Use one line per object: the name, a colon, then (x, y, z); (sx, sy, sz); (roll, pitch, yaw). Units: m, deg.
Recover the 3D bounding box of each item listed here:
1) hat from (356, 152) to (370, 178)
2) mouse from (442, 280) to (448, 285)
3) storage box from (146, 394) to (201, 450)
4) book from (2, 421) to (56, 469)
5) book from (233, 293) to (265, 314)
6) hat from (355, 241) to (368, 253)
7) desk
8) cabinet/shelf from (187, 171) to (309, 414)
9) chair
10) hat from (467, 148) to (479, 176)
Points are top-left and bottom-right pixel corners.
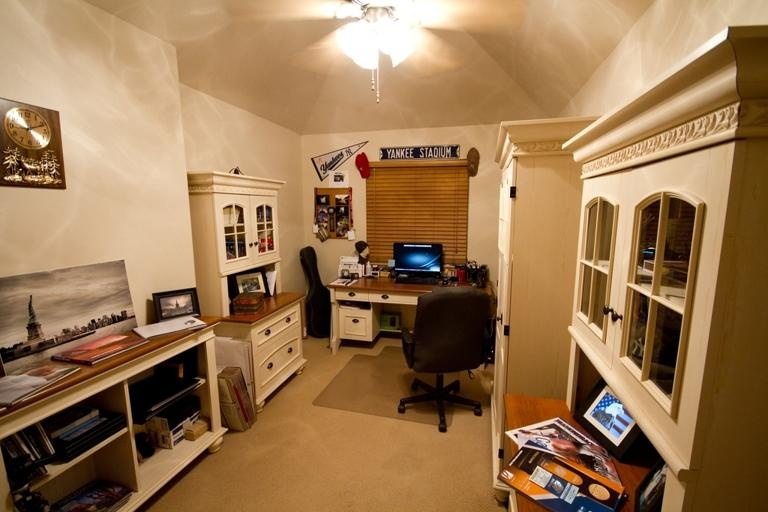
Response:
hat: (-0.218, -1.008, 5.676); (0.150, 0.263, 0.060); (-6, 9, 10)
mouse: (0.647, 0.272, 5.301); (0.048, 0.012, 0.046); (2, 21, 16)
storage box: (-1.497, 1.193, 3.735); (0.195, 0.241, 0.356); (10, 14, 17)
book: (-1.989, 1.075, 2.923); (0.235, 0.231, 0.057); (41, 18, 10)
book: (-1.120, 0.387, 4.270); (0.153, 0.099, 0.213); (1, 3, 0)
hat: (-0.240, -0.097, 5.793); (0.141, 0.138, 0.084); (-1, 6, 2)
desk: (0.210, 0.648, 5.285); (1.374, 0.730, 0.536); (3, 10, 18)
cabinet/shelf: (-1.118, 0.281, 4.465); (0.481, 1.899, 0.969); (1, 9, 20)
chair: (0.495, 0.767, 4.120); (0.757, 1.122, 0.630); (0, 6, 12)
hat: (0.942, -0.987, 5.343); (0.094, 0.310, 0.115); (6, 10, 12)
